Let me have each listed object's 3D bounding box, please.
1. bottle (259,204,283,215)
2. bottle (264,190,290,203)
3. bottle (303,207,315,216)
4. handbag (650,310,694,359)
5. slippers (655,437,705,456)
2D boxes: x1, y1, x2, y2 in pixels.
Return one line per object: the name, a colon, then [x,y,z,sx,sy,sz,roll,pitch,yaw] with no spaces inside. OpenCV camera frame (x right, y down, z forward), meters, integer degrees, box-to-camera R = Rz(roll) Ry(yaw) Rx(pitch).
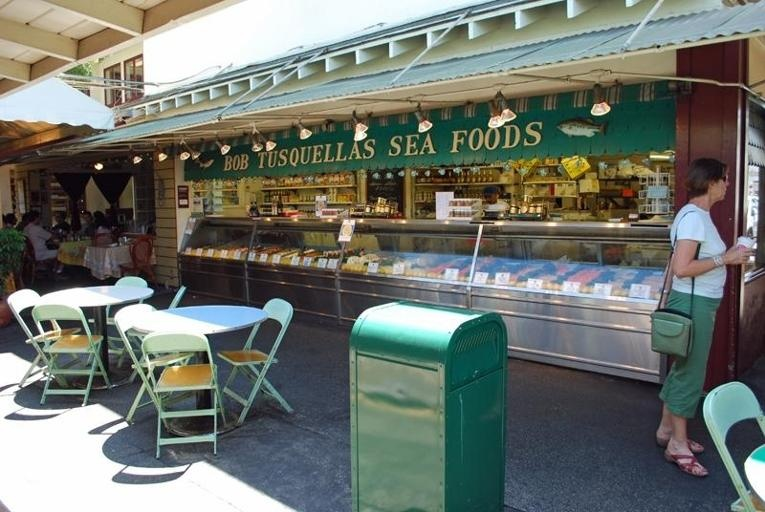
bottle: [-2.475,-1.039,12.594,0.481,0.214,0.338,1,4,14]
bottle: [-2.840,-1.635,15.426,0.585,0.201,0.163,2,1,31]
bottle: [-1.867,-1.156,14.629,0.401,0.205,0.358,4,5,42]
handbag: [2.742,0.738,5.405,0.343,0.462,0.189,2,8,27]
slippers: [2.991,1.889,5.723,0.424,0.116,0.167,-1,4,43]
